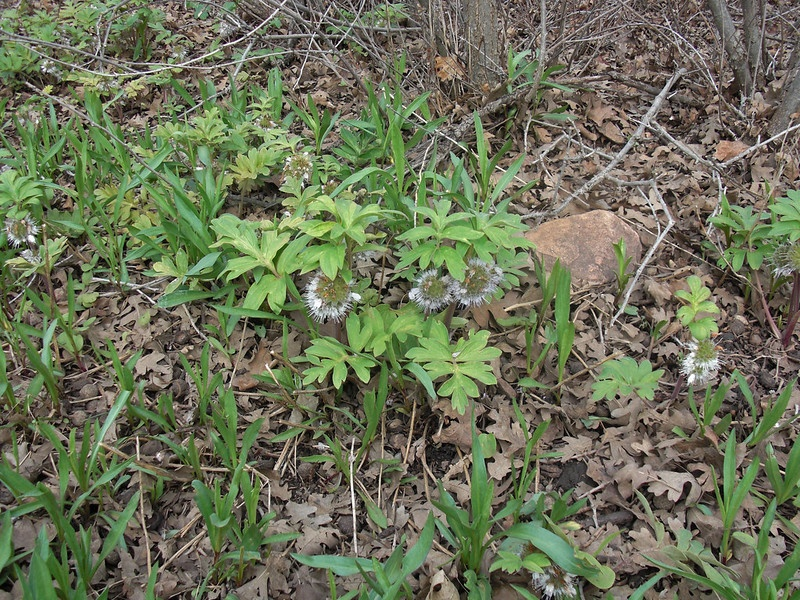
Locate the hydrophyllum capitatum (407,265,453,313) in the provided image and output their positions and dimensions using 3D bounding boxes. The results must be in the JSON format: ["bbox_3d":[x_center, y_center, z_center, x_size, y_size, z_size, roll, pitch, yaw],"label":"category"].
[{"bbox_3d":[0.173,-0.030,3.456,0.219,0.235,0.183,-3,49,4],"label":"hydrophyllum capitatum"}]

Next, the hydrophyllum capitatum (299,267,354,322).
[{"bbox_3d":[-0.381,-0.015,3.375,0.236,0.154,0.278,-12,80,-2],"label":"hydrophyllum capitatum"}]

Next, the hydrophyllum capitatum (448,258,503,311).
[{"bbox_3d":[0.413,-0.099,3.444,0.168,0.205,0.297,34,62,30],"label":"hydrophyllum capitatum"}]

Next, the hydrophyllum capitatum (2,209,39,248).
[{"bbox_3d":[-2.336,-0.429,3.943,0.214,0.225,0.103,14,6,-27],"label":"hydrophyllum capitatum"}]
